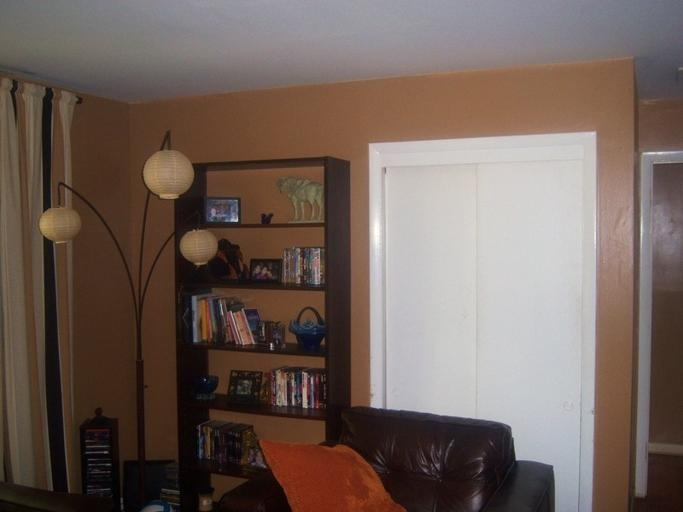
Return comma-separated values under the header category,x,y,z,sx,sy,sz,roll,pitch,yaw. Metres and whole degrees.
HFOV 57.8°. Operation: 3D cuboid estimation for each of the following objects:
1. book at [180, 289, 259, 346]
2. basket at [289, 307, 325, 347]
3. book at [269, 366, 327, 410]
category,x,y,z,sx,sy,sz,roll,pitch,yaw
book,-0.908,0.454,4.512,0.350,0.167,0.454,3,3,-38
basket,-0.229,0.514,4.419,0.285,0.319,0.281,-4,8,-19
book,-0.312,0.949,4.417,0.441,0.260,0.067,0,-1,21
